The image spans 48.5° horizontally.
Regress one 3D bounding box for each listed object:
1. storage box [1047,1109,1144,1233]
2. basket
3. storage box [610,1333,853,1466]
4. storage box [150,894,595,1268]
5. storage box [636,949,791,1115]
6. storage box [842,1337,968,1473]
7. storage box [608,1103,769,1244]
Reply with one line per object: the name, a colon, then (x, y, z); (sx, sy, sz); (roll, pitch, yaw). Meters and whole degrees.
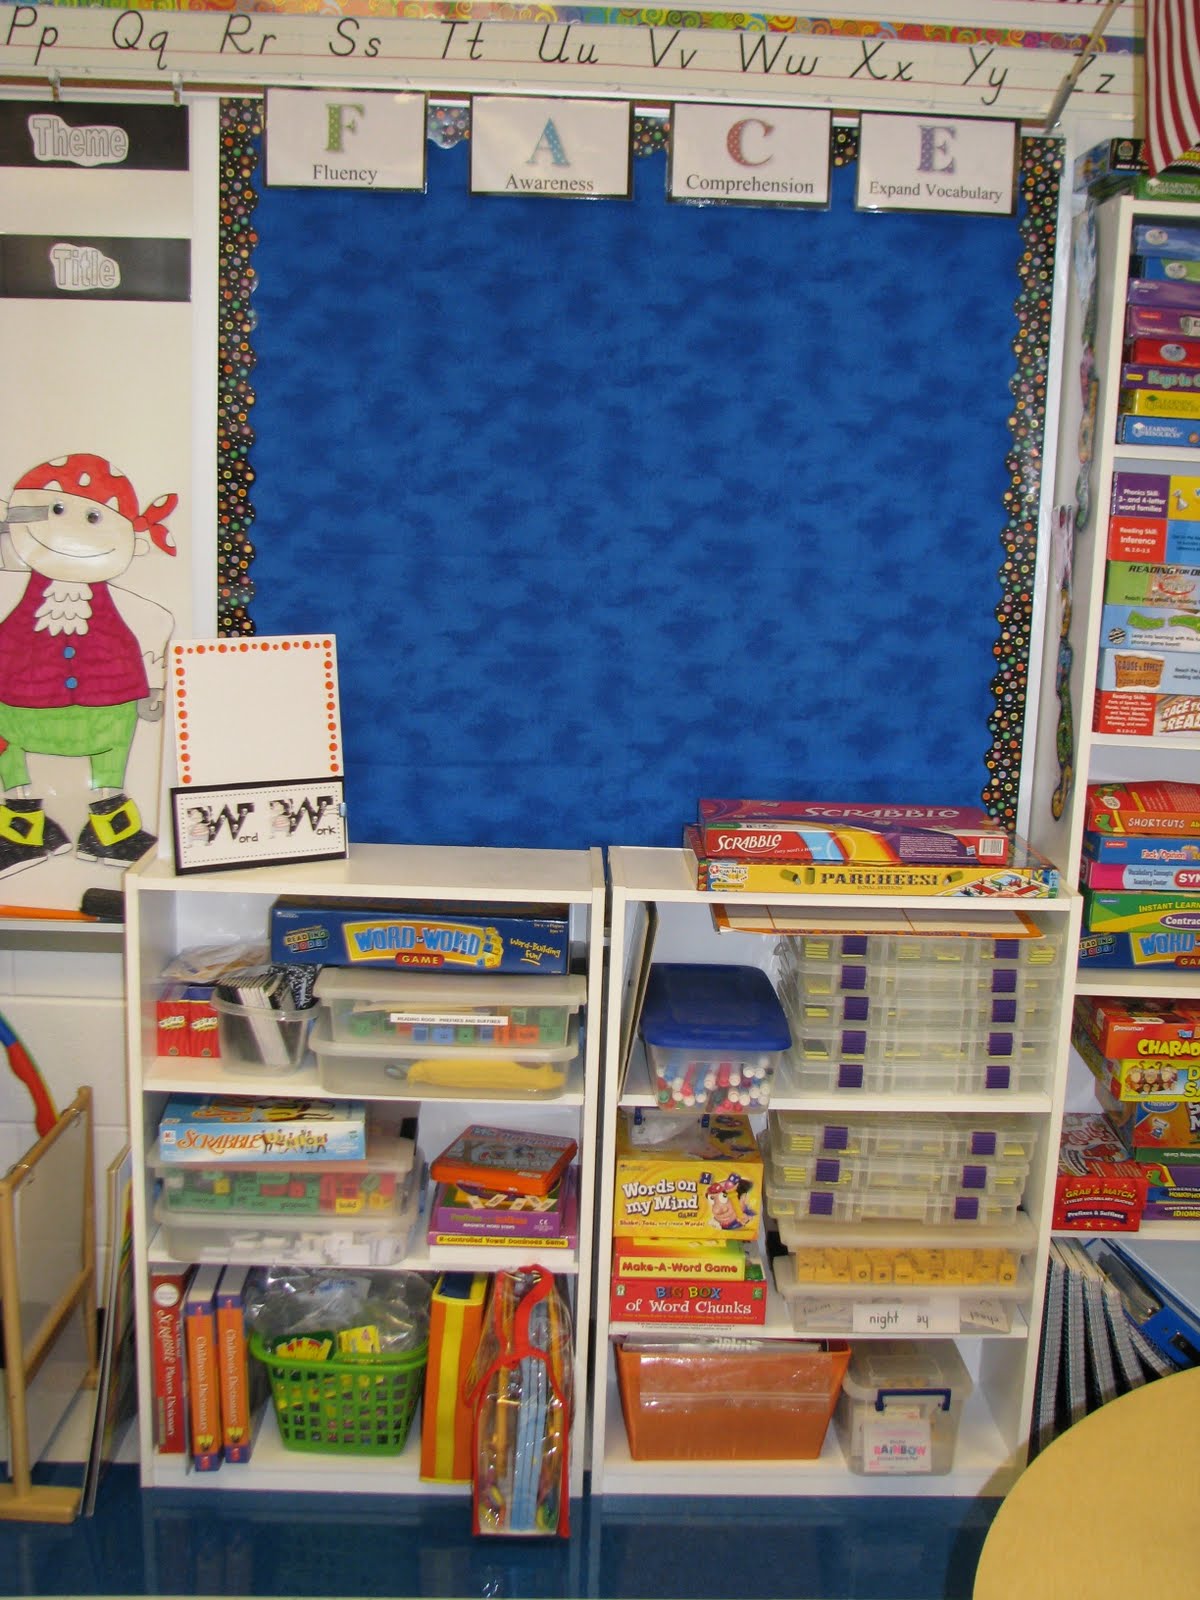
storage box: (0.860, 0.641, 2.304); (0.150, 0.080, 0.238); (0, 18, 18)
basket: (-0.443, 1.020, 2.292); (0.291, 0.144, 0.181); (2, -8, -6)
storage box: (0.217, 1.025, 2.263); (0.362, 0.170, 0.228); (1, -13, -1)
storage box: (-0.334, 0.390, 2.377); (1.057, 0.642, 0.552); (0, 8, 0)
storage box: (0.181, 0.399, 2.262); (0.237, 0.147, 0.321); (2, 15, -3)
storage box: (0.526, 1.061, 2.291); (0.193, 0.149, 0.230); (0, 1, 4)
storage box: (0.156, 0.637, 2.275); (0.255, 0.168, 0.213); (3, 15, 4)
